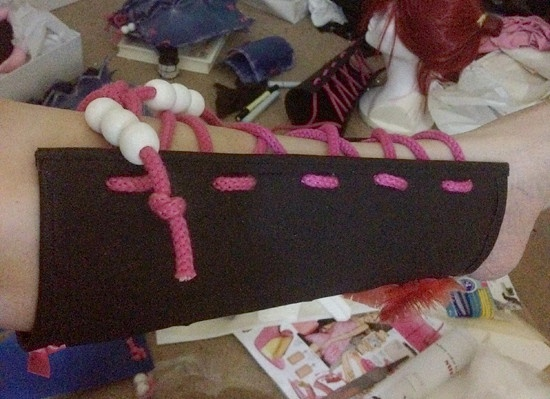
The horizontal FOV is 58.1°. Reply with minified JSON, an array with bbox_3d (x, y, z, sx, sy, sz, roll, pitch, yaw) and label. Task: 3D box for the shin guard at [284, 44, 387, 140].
[{"bbox_3d":[0.174,-0.322,1.374,0.138,0.147,0.414,19,46,23],"label":"shin guard"}]
